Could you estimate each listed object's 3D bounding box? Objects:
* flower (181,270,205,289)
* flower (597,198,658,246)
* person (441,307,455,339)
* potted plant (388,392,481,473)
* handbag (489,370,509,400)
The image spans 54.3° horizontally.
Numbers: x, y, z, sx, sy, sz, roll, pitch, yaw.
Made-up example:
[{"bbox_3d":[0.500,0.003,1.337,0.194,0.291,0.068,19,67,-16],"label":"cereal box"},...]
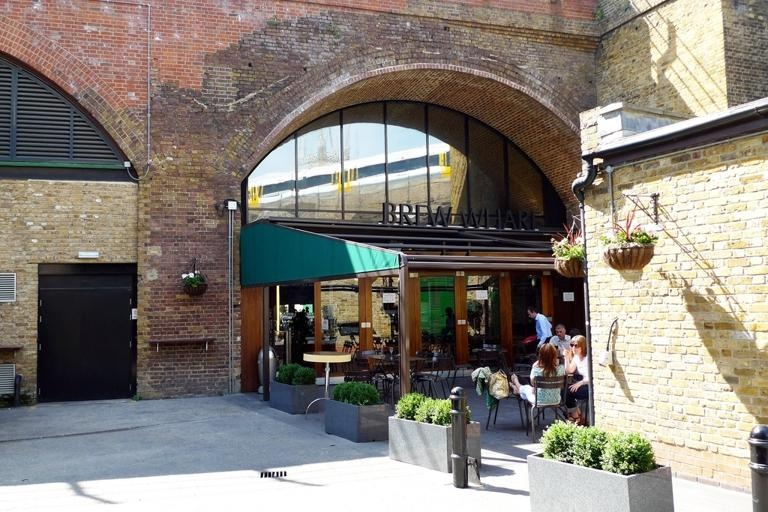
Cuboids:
[{"bbox_3d":[-5.052,0.638,19.828,0.499,0.351,0.450,4,1,-41],"label":"flower"},{"bbox_3d":[4.204,-0.555,12.759,0.865,0.523,0.751,0,-1,-20],"label":"flower"},{"bbox_3d":[2.088,2.155,24.213,0.487,0.994,0.144,-5,7,-36],"label":"person"},{"bbox_3d":[0.701,3.153,13.526,1.366,1.230,0.398,3,7,40],"label":"potted plant"},{"bbox_3d":[2.244,2.528,14.518,0.348,0.560,0.434,1,6,27],"label":"handbag"}]
